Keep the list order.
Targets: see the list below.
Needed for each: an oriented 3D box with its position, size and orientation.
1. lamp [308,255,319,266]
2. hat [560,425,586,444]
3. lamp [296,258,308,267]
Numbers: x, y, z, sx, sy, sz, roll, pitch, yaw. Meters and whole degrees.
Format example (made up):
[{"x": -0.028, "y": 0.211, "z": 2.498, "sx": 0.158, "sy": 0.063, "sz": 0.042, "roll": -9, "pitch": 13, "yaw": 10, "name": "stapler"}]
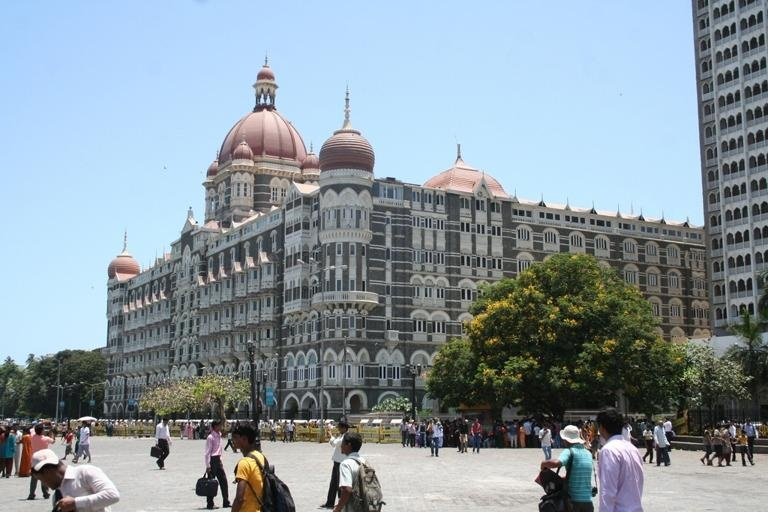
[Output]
[{"x": -7.089, "y": 0.486, "z": 103.498, "sx": 0.962, "sy": 1.395, "sz": 1.813, "roll": 3, "pitch": -4, "yaw": -28, "name": "lamp"}, {"x": 7.000, "y": 6.679, "z": 37.002, "sx": 0.800, "sy": 0.699, "sz": 0.554, "roll": 8, "pitch": -18, "yaw": -35, "name": "hat"}, {"x": -8.648, "y": 0.718, "z": 104.664, "sx": 1.232, "sy": 0.913, "sz": 0.729, "roll": -6, "pitch": -15, "yaw": 14, "name": "lamp"}]
